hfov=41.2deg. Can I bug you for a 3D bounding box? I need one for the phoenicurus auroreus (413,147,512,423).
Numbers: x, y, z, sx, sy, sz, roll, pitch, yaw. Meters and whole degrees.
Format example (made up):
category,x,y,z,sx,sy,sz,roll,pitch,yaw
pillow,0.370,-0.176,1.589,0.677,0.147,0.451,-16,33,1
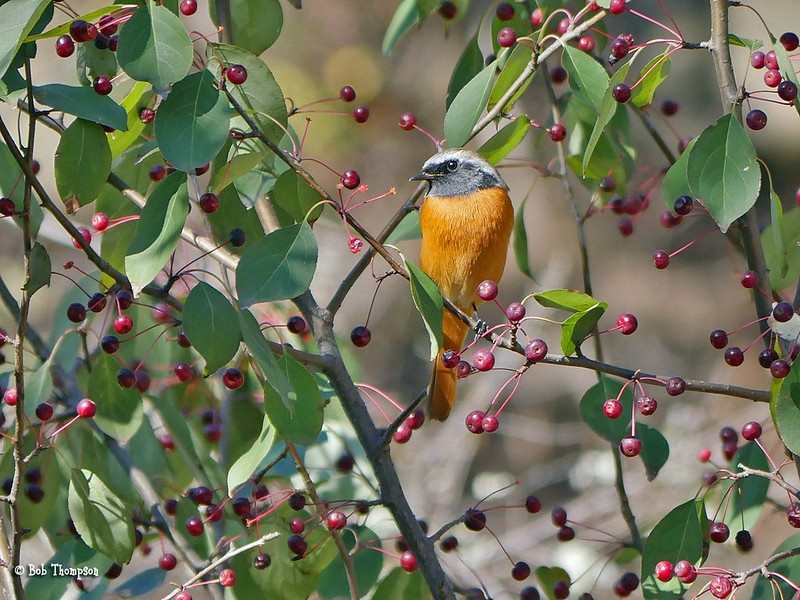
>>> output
category,x,y,z,sx,sy,sz,roll,pitch,yaw
phoenicurus auroreus,0.293,-0.145,4.679,0.324,1.462,0.478,-1,-2,-15
